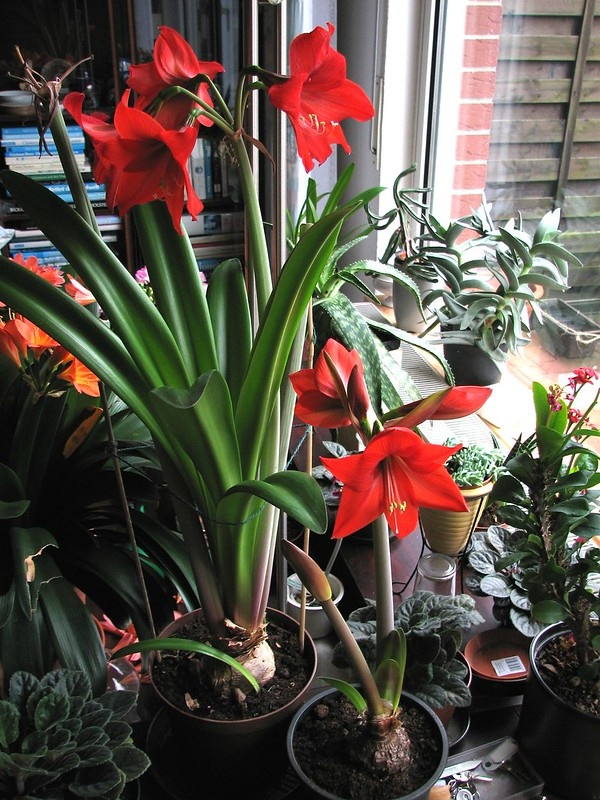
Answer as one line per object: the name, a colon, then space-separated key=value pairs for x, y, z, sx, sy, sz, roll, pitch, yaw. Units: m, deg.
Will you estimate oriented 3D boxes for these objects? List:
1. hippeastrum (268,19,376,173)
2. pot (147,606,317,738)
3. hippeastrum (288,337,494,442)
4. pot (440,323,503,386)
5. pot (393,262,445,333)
hippeastrum: x=0.004 y=-0.223 z=0.447 sx=0.080 sy=0.095 sz=0.096 roll=16 pitch=38 yaw=13
pot: x=-0.064 y=0.294 z=0.678 sx=0.183 sy=0.057 sz=0.159 roll=-11 pitch=27 yaw=-27
hippeastrum: x=0.069 y=-0.003 z=0.520 sx=0.114 sy=0.058 sz=0.122 roll=-2 pitch=-2 yaw=32
pot: x=0.388 y=-0.105 z=1.514 sx=0.148 sy=0.148 sz=0.159 roll=0 pitch=37 yaw=0
pot: x=0.317 y=-0.287 z=1.799 sx=0.104 sy=0.154 sz=0.104 roll=-8 pitch=16 yaw=2
